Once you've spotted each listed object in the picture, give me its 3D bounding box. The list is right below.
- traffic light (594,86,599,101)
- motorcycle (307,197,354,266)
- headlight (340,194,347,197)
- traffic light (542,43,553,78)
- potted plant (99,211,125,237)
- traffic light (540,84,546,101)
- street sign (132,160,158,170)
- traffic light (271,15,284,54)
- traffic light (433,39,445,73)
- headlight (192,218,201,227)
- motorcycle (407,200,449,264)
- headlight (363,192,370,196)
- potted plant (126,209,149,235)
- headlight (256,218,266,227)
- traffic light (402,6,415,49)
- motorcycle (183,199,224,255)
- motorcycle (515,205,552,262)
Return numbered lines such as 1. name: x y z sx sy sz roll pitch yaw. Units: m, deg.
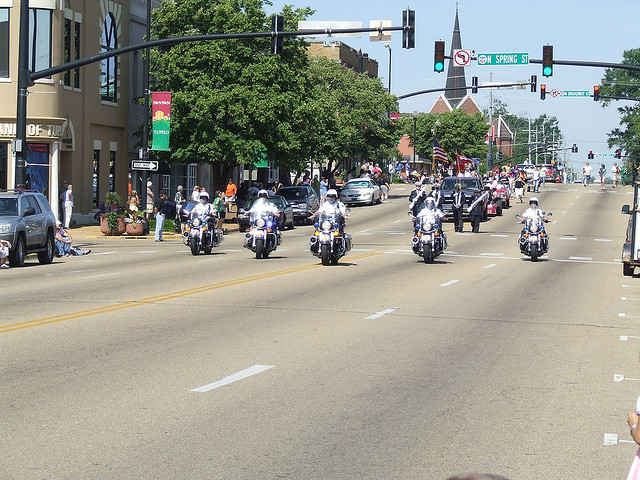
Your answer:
1. traffic light: 15.727 -8.344 43.365 0.241 0.839 0.557 2 3 17
2. motorcycle: 0.318 -0.276 23.204 1.205 2.059 2.138 1 3 -2
3. headlight: 1.704 -3.250 55.612 0.285 0.187 0.524 -2 5 -41
4. traffic light: 9.530 -7.472 31.879 0.369 1.233 0.411 0 3 -10
5. potted plant: -9.636 -0.749 35.494 1.041 0.956 1.037 0 0 -6
6. traffic light: 11.762 -7.834 40.272 0.201 0.752 0.720 2 4 23
7. street sign: -7.815 -3.350 34.142 1.261 0.369 0.504 3 4 26
8. traffic light: -1.451 -7.062 26.074 0.348 1.360 1.095 0 3 -5
9. traffic light: 4.830 -7.422 30.866 0.299 1.221 0.378 2 3 26
10. headlight: -4.188 -0.603 25.914 0.228 0.312 0.363 -1 4 -33
11. motorcycle: 3.432 -0.255 23.993 1.007 2.025 1.021 1 3 6
12. headlight: 3.418 -3.366 55.474 0.548 0.154 0.155 -7 1 -9
13. potted plant: -8.414 -0.862 35.457 0.963 1.278 1.156 2 -1 -32
14. headlight: -1.842 -0.555 23.887 0.294 0.286 0.258 1 3 -5
15. traffic light: 2.955 -7.060 25.494 0.352 1.308 0.426 0 3 -5
16. motorcycle: -4.056 -0.448 26.271 1.116 1.931 1.433 1 3 -2
17. motorcycle: 7.354 -0.328 26.344 0.981 1.631 2.634 -1 13 16
